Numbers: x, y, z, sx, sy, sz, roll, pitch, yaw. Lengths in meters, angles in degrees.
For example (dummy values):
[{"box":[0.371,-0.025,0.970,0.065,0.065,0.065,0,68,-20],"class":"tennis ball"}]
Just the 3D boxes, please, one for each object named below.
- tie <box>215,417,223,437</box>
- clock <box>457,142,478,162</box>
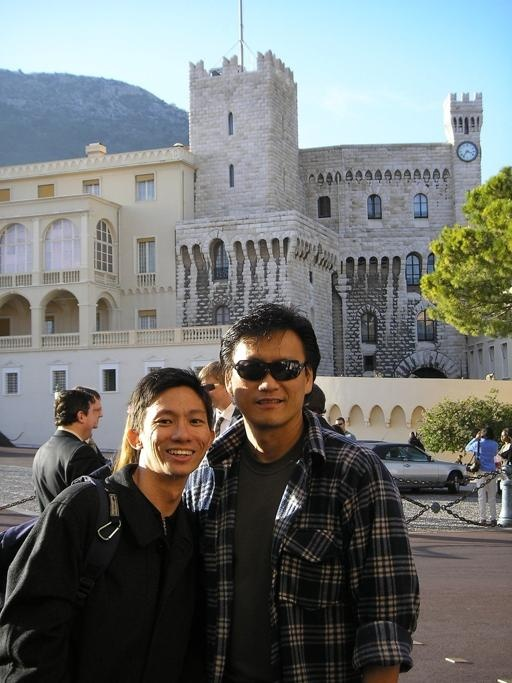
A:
[{"box":[-0.228,0.527,6.677,0.028,0.111,0.114,0,-15,-7],"class":"tie"},{"box":[7.982,-7.197,39.741,0.592,0.637,0.066,12,3,8],"class":"clock"}]
